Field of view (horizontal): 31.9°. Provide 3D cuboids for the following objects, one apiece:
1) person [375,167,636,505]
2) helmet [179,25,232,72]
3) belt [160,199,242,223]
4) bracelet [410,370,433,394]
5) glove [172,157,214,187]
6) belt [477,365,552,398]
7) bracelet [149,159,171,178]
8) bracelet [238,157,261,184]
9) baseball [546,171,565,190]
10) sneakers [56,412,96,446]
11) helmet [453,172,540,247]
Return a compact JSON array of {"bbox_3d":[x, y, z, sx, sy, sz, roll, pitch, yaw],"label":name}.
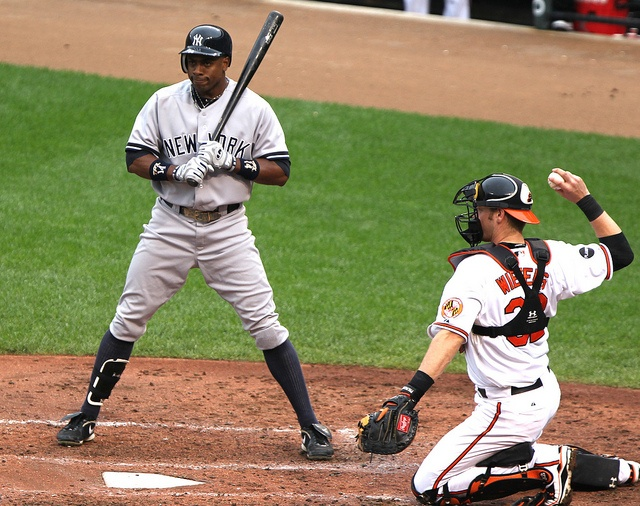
[{"bbox_3d":[1.253,0.589,7.467,1.346,2.293,0.924,10,15,1],"label":"person"},{"bbox_3d":[-0.818,-1.499,8.114,0.371,0.269,0.434,14,23,26],"label":"helmet"},{"bbox_3d":[-0.867,-0.299,8.042,0.572,0.152,0.184,4,13,-6],"label":"belt"},{"bbox_3d":[0.647,0.838,7.219,0.149,0.170,0.080,12,15,14],"label":"bracelet"},{"bbox_3d":[-0.891,-0.569,7.798,0.256,0.098,0.255,-32,34,-26],"label":"glove"},{"bbox_3d":[1.283,0.918,7.627,0.434,0.082,0.423,-21,-15,40],"label":"belt"},{"bbox_3d":[-1.138,-0.585,7.963,0.154,0.149,0.066,13,15,21],"label":"bracelet"},{"bbox_3d":[-0.505,-0.585,7.980,0.152,0.079,0.169,6,24,-31],"label":"bracelet"},{"bbox_3d":[1.592,-0.487,7.602,0.107,0.111,0.109,-5,34,-21],"label":"baseball"},{"bbox_3d":[-1.735,1.257,7.995,0.157,0.223,0.229,15,15,22],"label":"sneakers"},{"bbox_3d":[1.248,-0.291,7.653,0.670,0.410,0.416,4,8,25],"label":"helmet"}]
